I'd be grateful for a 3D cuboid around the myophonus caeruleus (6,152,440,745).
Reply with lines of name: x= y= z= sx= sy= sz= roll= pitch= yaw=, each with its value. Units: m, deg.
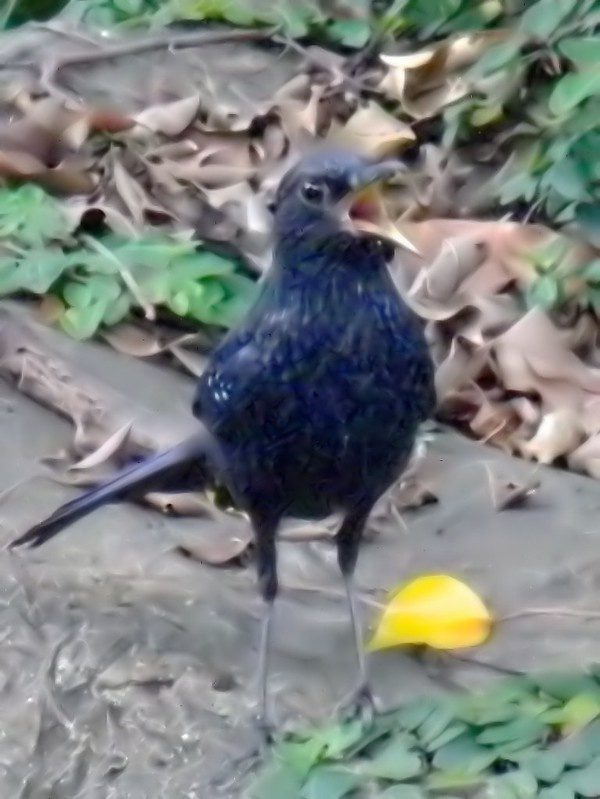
myophonus caeruleus: x=-0.057 y=0.030 z=0.681 sx=0.232 sy=0.409 sz=0.189 roll=19 pitch=41 yaw=26
